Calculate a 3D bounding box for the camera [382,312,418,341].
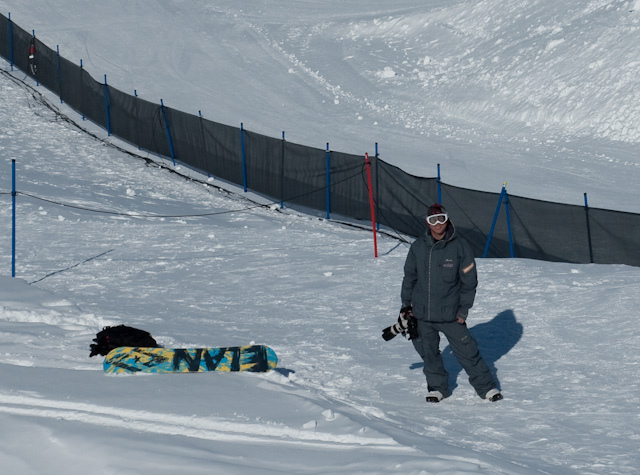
[{"bbox_3d":[1.635,1.739,22.897,0.374,0.356,0.749,4,-30,-44],"label":"camera"}]
